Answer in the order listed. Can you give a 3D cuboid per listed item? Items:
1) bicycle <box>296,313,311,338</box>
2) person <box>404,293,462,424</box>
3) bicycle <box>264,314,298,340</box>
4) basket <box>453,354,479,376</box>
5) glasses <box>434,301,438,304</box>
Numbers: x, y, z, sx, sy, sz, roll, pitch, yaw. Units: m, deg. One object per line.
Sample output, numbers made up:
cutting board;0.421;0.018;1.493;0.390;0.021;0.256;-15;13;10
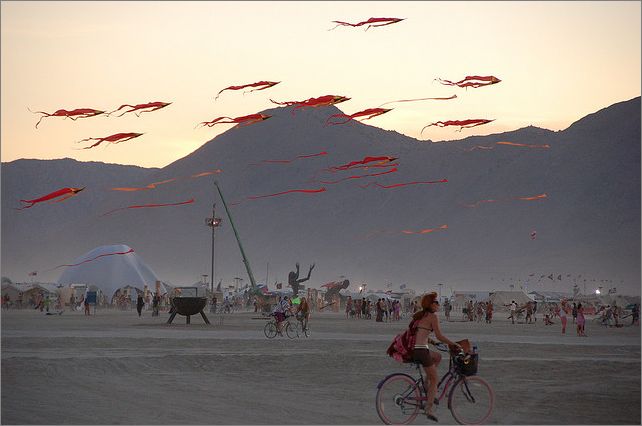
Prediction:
bicycle;-1.022;5.670;39.655;0.736;0.826;1.413;1;5;5
person;2.746;3.496;19.023;0.927;3.154;0.949;-3;-11;18
bicycle;-1.783;5.818;38.740;2.105;1.134;1.061;-2;2;-10
basket;3.606;3.715;19.213;0.610;0.503;0.478;-2;-4;2
glasses;2.797;2.185;19.026;0.106;0.071;0.106;-2;-3;33
